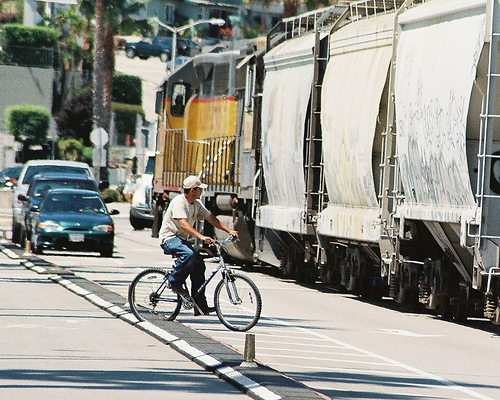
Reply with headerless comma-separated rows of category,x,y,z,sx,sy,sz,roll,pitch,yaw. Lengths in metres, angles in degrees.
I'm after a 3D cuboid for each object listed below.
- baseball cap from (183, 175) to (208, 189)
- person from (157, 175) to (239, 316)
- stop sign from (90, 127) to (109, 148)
baseball cap,-0.880,-0.275,18.375,0.289,0.168,0.195,-5,5,-27
person,-0.773,0.549,18.822,1.138,2.284,1.362,8,7,-30
stop sign,-5.155,-2.115,40.452,0.140,0.638,0.581,-3,12,-31
